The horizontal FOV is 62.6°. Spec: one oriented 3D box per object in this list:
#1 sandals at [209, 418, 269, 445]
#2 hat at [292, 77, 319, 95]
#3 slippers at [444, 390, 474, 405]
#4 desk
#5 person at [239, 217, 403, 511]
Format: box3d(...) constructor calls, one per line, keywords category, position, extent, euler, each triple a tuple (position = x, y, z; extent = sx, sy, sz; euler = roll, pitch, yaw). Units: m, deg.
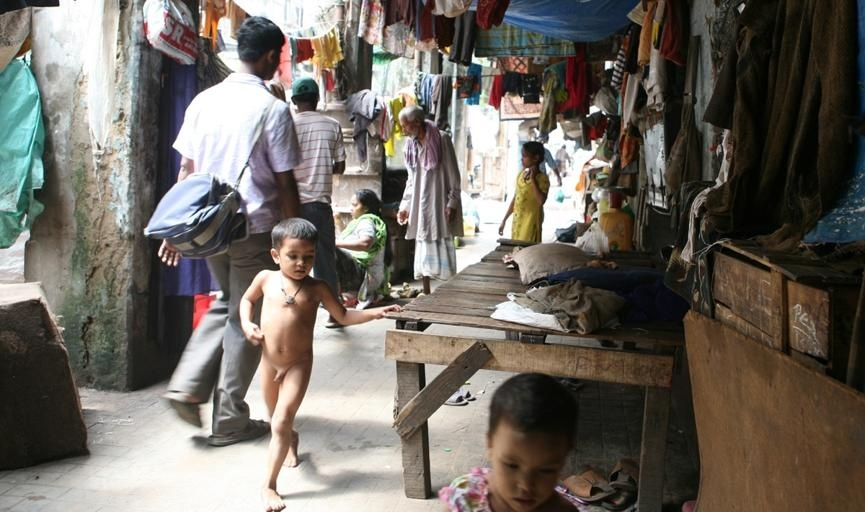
box3d(category="sandals", position=(-1.501, 1.420, 5.688), extent=(0.497, 0.191, 0.180), euler=(-3, 7, -41))
box3d(category="hat", position=(-1.227, -1.613, 6.880), extent=(0.246, 0.175, 0.389), euler=(3, 12, -1))
box3d(category="slippers", position=(0.257, 1.293, 6.463), extent=(0.208, 0.125, 0.366), euler=(1, 1, 7))
box3d(category="desk", position=(0.741, 0.688, 5.199), extent=(1.538, 0.855, 2.362), euler=(2, 6, 16))
box3d(category="person", position=(-1.012, 0.710, 5.359), extent=(0.830, 1.979, 0.904), euler=(-6, 11, -31))
